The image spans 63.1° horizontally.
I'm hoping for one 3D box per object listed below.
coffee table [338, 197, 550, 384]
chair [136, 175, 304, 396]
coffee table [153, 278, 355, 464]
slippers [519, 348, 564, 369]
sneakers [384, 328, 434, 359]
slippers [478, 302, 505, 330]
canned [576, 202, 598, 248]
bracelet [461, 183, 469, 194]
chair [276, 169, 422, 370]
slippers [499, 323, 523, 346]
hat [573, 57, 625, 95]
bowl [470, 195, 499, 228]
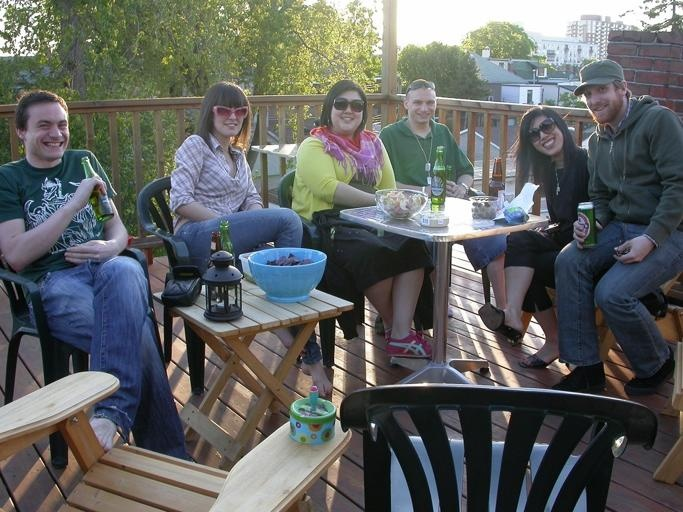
[{"bbox_3d":[0.456,0.153,2.904,0.838,0.974,0.907,5,15,18],"label":"coffee table"},{"bbox_3d":[-0.624,0.107,3.076,0.921,1.413,0.807,15,21,41],"label":"chair"},{"bbox_3d":[-0.371,0.420,2.443,0.703,0.723,0.689,-18,33,-36],"label":"coffee table"},{"bbox_3d":[1.087,0.551,3.007,0.218,0.057,0.094,-17,42,-5],"label":"slippers"},{"bbox_3d":[0.354,0.472,2.928,0.245,0.123,0.117,2,-3,-8],"label":"sneakers"},{"bbox_3d":[0.792,0.323,2.951,0.050,0.095,0.160,4,22,-26],"label":"slippers"},{"bbox_3d":[1.217,-0.155,2.710,0.122,0.221,0.070,-8,18,-18],"label":"canned"},{"bbox_3d":[0.798,-0.447,3.635,0.021,0.061,0.044,-31,0,32],"label":"bracelet"},{"bbox_3d":[0.160,-0.073,3.582,0.945,1.488,0.927,6,12,36],"label":"chair"},{"bbox_3d":[0.937,0.432,3.060,0.162,0.086,0.062,31,66,33],"label":"slippers"},{"bbox_3d":[1.320,-0.929,2.829,0.214,0.122,0.160,-18,8,-29],"label":"hat"},{"bbox_3d":[0.661,-0.208,2.631,0.141,0.121,0.143,0,13,0],"label":"bowl"}]
